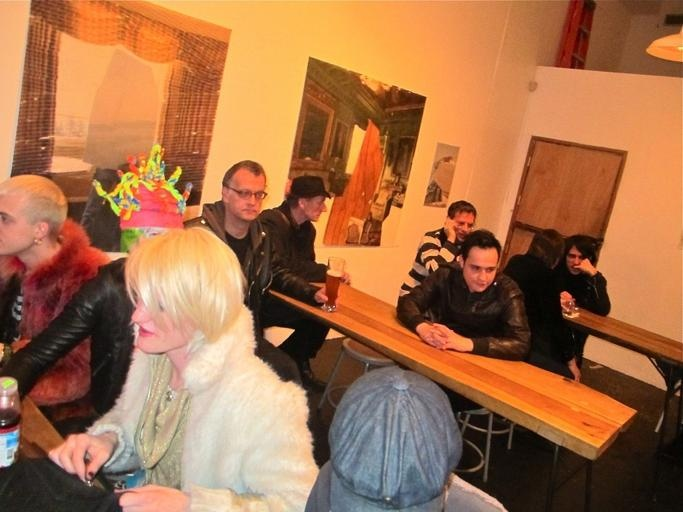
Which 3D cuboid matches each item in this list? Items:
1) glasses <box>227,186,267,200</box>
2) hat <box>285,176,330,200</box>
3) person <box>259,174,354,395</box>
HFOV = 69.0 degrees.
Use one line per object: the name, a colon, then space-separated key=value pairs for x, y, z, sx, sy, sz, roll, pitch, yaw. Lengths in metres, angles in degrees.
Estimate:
glasses: x=-0.619 y=-0.404 z=3.242 sx=0.251 sy=0.067 sz=0.143 roll=5 pitch=13 yaw=-14
hat: x=-0.260 y=-0.522 z=3.887 sx=0.242 sy=0.110 sz=0.184 roll=6 pitch=13 yaw=19
person: x=-0.388 y=0.244 z=4.055 sx=0.963 sy=1.761 sz=0.702 roll=8 pitch=16 yaw=19
